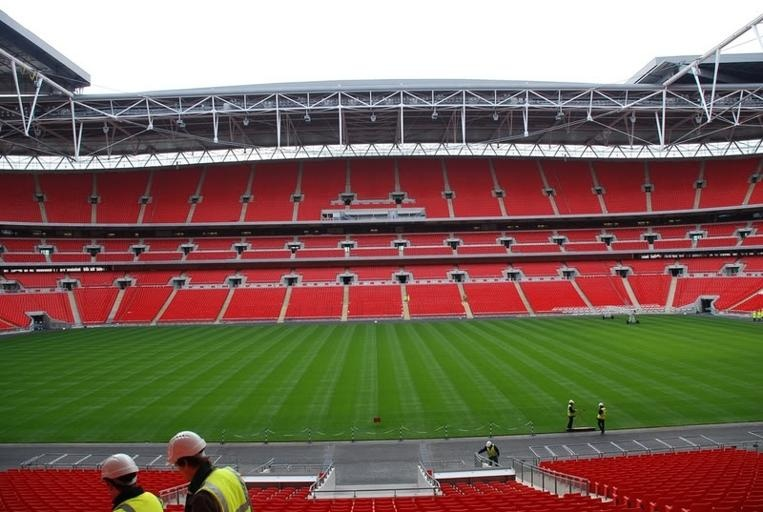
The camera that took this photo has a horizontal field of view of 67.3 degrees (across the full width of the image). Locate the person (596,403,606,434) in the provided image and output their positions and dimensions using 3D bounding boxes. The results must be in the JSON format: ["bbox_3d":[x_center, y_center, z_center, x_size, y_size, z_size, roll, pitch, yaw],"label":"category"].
[{"bbox_3d":[10.808,7.840,28.185,0.388,1.613,1.049,1,18,21],"label":"person"}]
